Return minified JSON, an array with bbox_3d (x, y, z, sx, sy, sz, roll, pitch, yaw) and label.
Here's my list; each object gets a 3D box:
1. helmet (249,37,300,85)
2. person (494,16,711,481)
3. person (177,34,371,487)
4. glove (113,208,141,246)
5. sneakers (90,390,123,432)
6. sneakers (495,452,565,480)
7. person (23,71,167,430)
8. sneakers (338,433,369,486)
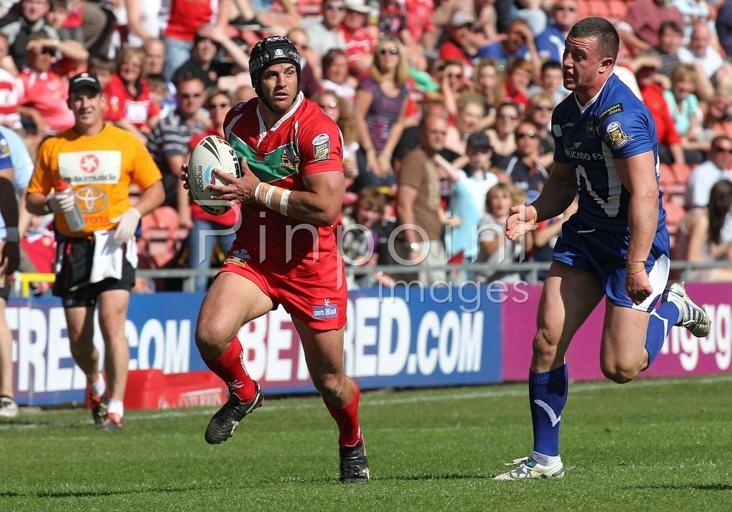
[{"bbox_3d":[-0.741,-1.558,9.342,0.312,0.366,0.405,-3,2,-11],"label":"helmet"},{"bbox_3d":[1.810,-0.056,9.742,1.324,3.702,1.161,-1,-2,18],"label":"person"},{"bbox_3d":[-0.664,0.242,9.366,1.293,3.169,0.556,-1,-2,-1],"label":"person"},{"bbox_3d":[-2.203,-0.257,10.770,0.215,0.335,0.089,26,-15,-12],"label":"glove"},{"bbox_3d":[-2.404,1.446,10.883,0.167,0.496,0.219,-8,8,0],"label":"sneakers"},{"bbox_3d":[1.330,1.730,9.592,0.580,0.218,0.220,-3,-12,-4],"label":"sneakers"},{"bbox_3d":[-2.492,-0.055,10.822,1.148,3.267,0.509,0,-2,-17],"label":"person"},{"bbox_3d":[-0.115,1.669,9.577,0.148,0.475,0.198,-4,-4,17],"label":"sneakers"}]
